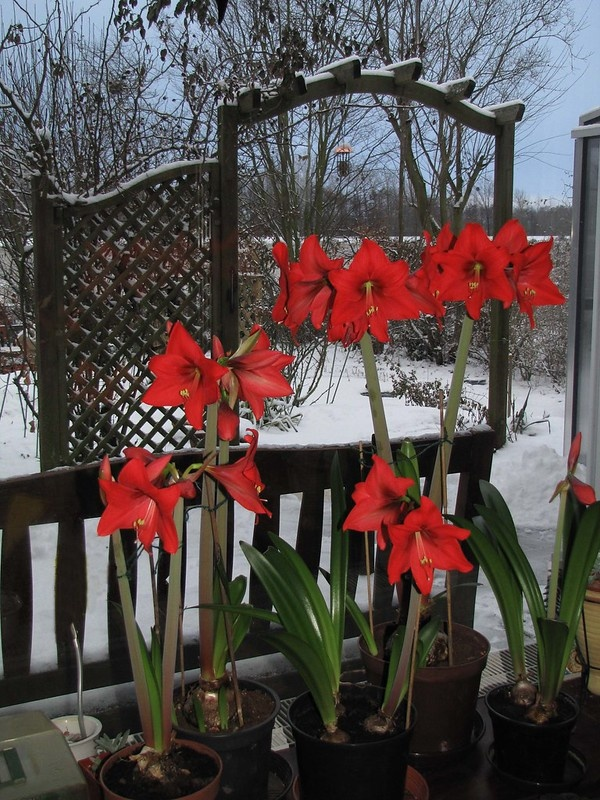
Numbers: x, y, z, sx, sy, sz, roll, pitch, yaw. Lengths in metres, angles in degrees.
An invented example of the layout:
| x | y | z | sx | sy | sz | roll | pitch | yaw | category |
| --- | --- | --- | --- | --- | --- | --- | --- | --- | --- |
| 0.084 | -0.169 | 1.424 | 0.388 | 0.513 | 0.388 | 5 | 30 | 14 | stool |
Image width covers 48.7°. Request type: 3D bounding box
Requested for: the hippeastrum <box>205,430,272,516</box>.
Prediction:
| x | y | z | sx | sy | sz | roll | pitch | yaw | category |
| --- | --- | --- | --- | --- | --- | --- | --- | --- | --- |
| -0.067 | 0.109 | 0.875 | 0.108 | 0.105 | 0.109 | 8 | 19 | -2 | hippeastrum |

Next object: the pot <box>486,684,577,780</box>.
| x | y | z | sx | sy | sz | roll | pitch | yaw | category |
| --- | --- | --- | --- | --- | --- | --- | --- | --- | --- |
| 0.381 | 0.550 | 1.135 | 0.133 | 0.108 | 0.143 | 1 | -2 | 0 | pot |

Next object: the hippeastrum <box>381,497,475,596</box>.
| x | y | z | sx | sy | sz | roll | pitch | yaw | category |
| --- | --- | --- | --- | --- | --- | --- | --- | --- | --- |
| 0.150 | 0.157 | 0.792 | 0.107 | 0.055 | 0.157 | 2 | 45 | 10 | hippeastrum |

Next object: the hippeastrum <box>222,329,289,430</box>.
| x | y | z | sx | sy | sz | roll | pitch | yaw | category |
| --- | --- | --- | --- | --- | --- | --- | --- | --- | --- |
| -0.052 | -0.028 | 0.818 | 0.101 | 0.104 | 0.052 | 34 | 28 | 29 | hippeastrum |

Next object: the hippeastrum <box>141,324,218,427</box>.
| x | y | z | sx | sy | sz | roll | pitch | yaw | category |
| --- | --- | --- | --- | --- | --- | --- | --- | --- | --- |
| -0.123 | -0.026 | 0.699 | 0.080 | 0.116 | 0.154 | -1 | 5 | -9 | hippeastrum |

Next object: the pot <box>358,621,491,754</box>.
| x | y | z | sx | sy | sz | roll | pitch | yaw | category |
| --- | --- | --- | --- | --- | --- | --- | --- | --- | --- |
| 0.219 | 0.495 | 1.190 | 0.189 | 0.151 | 0.209 | 0 | -3 | -6 | pot |

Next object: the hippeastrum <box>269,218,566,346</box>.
| x | y | z | sx | sy | sz | roll | pitch | yaw | category |
| --- | --- | --- | --- | --- | --- | --- | --- | --- | --- |
| 0.192 | -0.195 | 1.017 | 0.461 | 0.215 | 0.300 | -4 | 6 | -41 | hippeastrum |
